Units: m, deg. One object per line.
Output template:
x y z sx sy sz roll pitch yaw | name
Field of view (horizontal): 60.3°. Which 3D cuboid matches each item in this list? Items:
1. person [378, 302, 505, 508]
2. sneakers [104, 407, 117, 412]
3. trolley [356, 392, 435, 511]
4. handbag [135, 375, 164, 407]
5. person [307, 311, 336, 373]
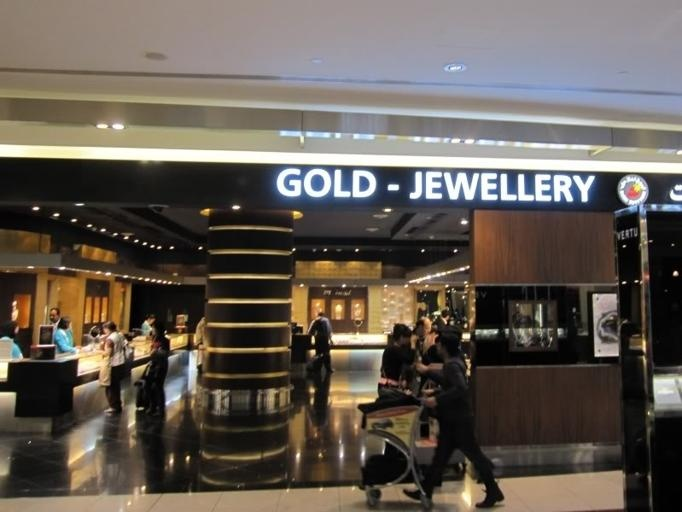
1.279 1.739 6.623 0.963 1.796 1.064 1 2 10 | person
-3.782 2.528 9.639 0.144 0.095 0.095 -6 -4 25 | sneakers
0.575 2.091 6.447 0.978 1.445 0.965 2 -10 0 | trolley
-3.255 2.259 9.757 0.416 0.483 0.433 0 -1 17 | handbag
-0.496 2.066 13.805 0.533 1.406 0.863 0 2 -1 | person
